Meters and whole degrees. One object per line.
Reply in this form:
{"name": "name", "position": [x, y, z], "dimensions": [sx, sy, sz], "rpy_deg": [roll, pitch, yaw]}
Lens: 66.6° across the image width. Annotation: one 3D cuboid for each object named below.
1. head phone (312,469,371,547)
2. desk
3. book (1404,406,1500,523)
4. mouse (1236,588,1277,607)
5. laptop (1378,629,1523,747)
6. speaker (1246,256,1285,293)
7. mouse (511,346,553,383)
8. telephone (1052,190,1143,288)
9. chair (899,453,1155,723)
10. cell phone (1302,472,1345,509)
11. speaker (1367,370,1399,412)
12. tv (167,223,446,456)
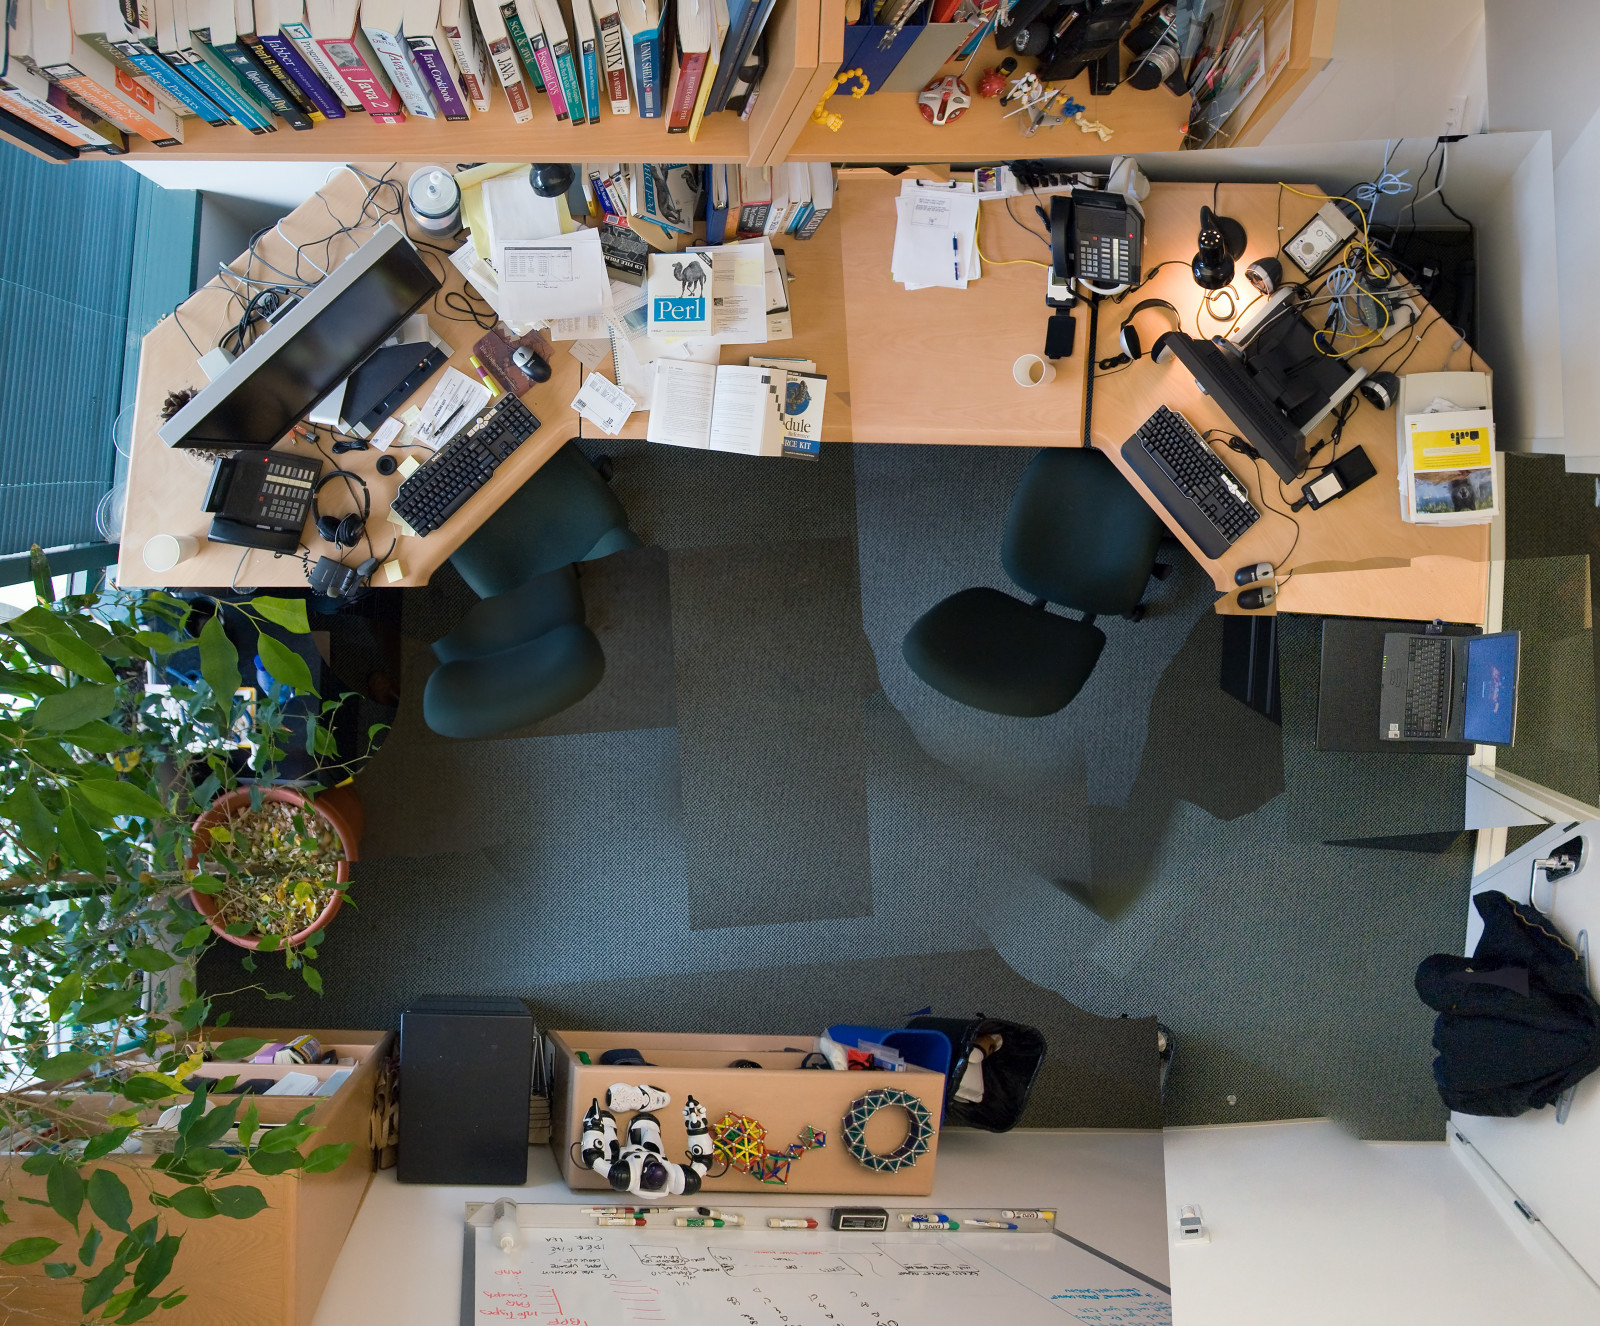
{"name": "head phone", "position": [-1.229, -0.419, 3.266], "dimensions": [0.144, 0.079, 0.203], "rpy_deg": [-4, 102, -1]}
{"name": "desk", "position": [0.748, -0.779, 3.777], "dimensions": [3.533, 0.839, 1.251], "rpy_deg": [-2, 90, 0]}
{"name": "book", "position": [1.751, -0.529, 3.291], "dimensions": [0.220, 0.092, 0.293], "rpy_deg": [-4, 82, 0]}
{"name": "mouse", "position": [1.267, -0.179, 3.377], "dimensions": [0.098, 0.039, 0.038], "rpy_deg": [-2, 99, 7]}
{"name": "laptop", "position": [1.790, 0.047, 3.504], "dimensions": [0.317, 0.372, 0.378], "rpy_deg": [3, 101, 2]}
{"name": "speaker", "position": [1.279, -1.070, 3.366], "dimensions": [0.074, 0.100, 0.076], "rpy_deg": [20, 112, 3]}
{"name": "mouse", "position": [-0.722, -0.798, 3.266], "dimensions": [0.103, 0.033, 0.064], "rpy_deg": [42, 92, -18]}
{"name": "telephone", "position": [0.801, -1.146, 3.299], "dimensions": [0.222, 0.106, 0.281], "rpy_deg": [1, 111, 7]}
{"name": "chair", "position": [0.732, -0.195, 3.677], "dimensions": [0.602, 0.755, 0.763], "rpy_deg": [26, 59, 26]}
{"name": "cell phone", "position": [1.436, -0.467, 3.344], "dimensions": [0.097, 0.047, 0.082], "rpy_deg": [-34, 83, -4]}
{"name": "speaker", "position": [1.590, -0.753, 3.380], "dimensions": [0.088, 0.095, 0.072], "rpy_deg": [-33, 118, -16]}
{"name": "tv", "position": [-1.251, -0.815, 3.134], "dimensions": [0.773, 0.542, 0.223], "rpy_deg": [-44, 110, -6]}
